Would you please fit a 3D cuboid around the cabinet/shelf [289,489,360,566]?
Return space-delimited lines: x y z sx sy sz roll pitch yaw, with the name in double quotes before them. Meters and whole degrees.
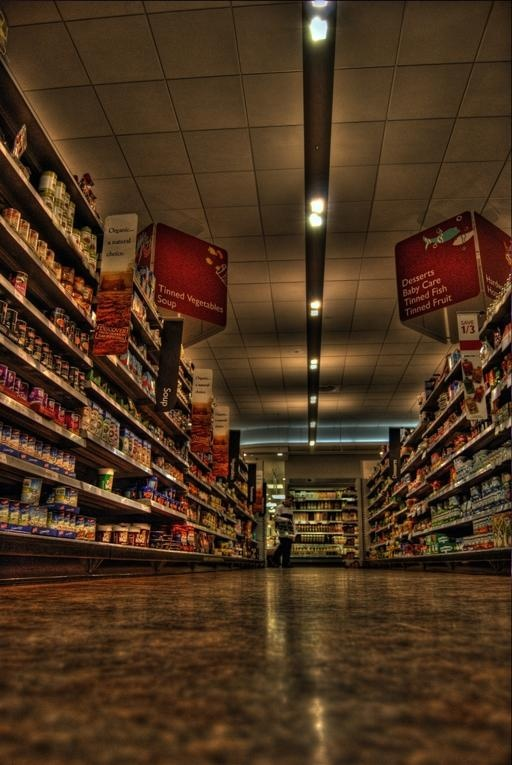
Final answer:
"cabinet/shelf" 2.947 5.817 19.545 3.249 3.103 1.004 -13 -22 36
